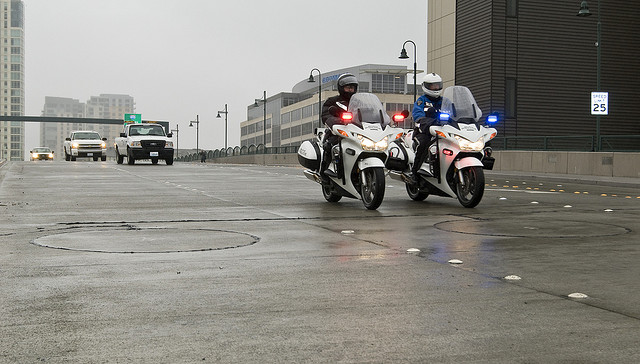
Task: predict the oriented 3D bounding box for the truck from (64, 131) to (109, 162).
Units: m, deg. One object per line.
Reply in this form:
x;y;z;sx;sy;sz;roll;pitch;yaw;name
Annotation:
-20.159;-3.140;48.847;2.552;1.565;4.726;-1;-2;-23;truck

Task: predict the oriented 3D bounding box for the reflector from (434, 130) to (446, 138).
3.014;-1.213;14.237;0.042;0.190;0.317;-3;5;-41;reflector

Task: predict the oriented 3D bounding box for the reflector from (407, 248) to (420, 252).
1.521;1.094;9.244;0.191;0.010;0.264;1;4;14;reflector

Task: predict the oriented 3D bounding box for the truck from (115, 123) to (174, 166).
-11.951;-2.616;38.578;2.637;2.771;3.466;-3;5;-37;truck

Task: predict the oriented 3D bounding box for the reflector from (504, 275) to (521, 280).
2.616;1.290;7.721;0.180;0.016;0.220;3;5;37;reflector

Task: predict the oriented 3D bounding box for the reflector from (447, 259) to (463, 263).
2.023;1.179;8.533;0.219;0.015;0.177;0;4;7;reflector

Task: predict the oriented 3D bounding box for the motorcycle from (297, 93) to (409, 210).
0.869;-0.792;14.152;1.860;2.864;1.241;4;5;45;motorcycle
